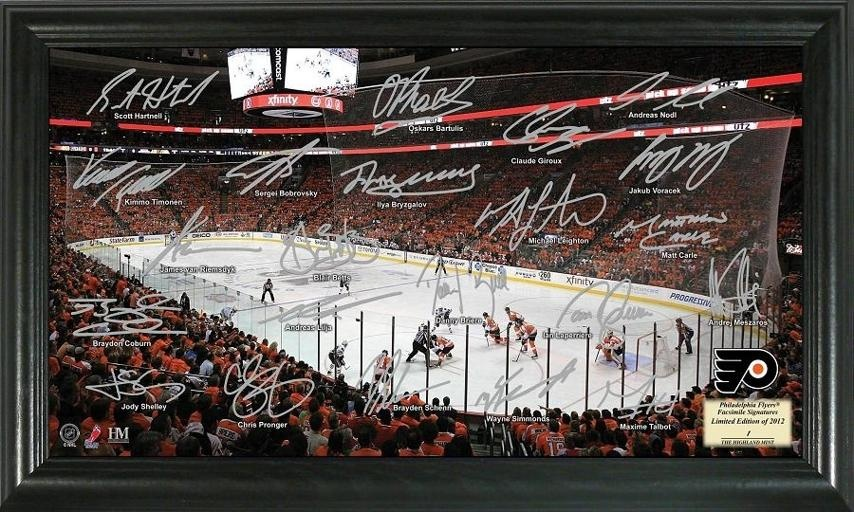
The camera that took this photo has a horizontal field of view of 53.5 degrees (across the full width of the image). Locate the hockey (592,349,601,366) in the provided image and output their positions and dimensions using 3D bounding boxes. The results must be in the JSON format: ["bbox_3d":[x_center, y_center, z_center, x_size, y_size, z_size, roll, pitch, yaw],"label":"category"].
[{"bbox_3d":[0.811,0.486,4.100,0.030,0.031,0.116,8,-41,36],"label":"hockey"}]
